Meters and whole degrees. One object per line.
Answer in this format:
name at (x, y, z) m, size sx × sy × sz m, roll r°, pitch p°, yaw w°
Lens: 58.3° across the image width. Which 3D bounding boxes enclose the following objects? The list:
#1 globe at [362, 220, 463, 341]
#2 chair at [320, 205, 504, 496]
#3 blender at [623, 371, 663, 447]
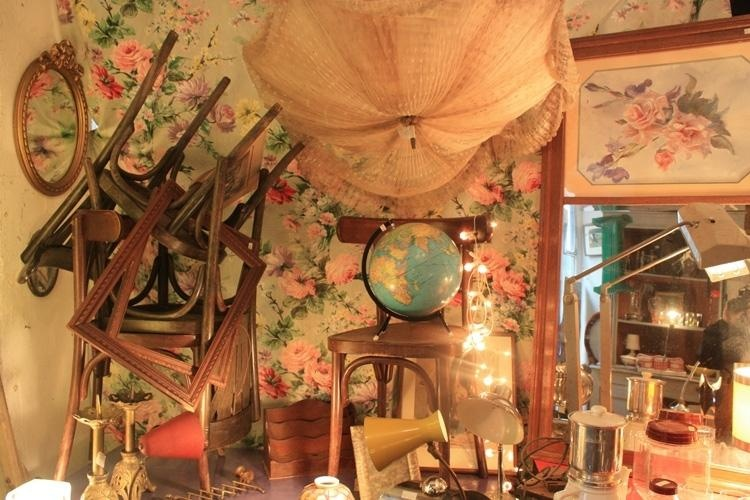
globe at (0.177, 0.112, 3.007) m, size 0.404 × 0.530 × 0.315 m, roll 3°, pitch 3°, yaw 12°
chair at (0.194, 0.442, 3.333) m, size 0.761 × 1.307 × 0.806 m, roll 2°, pitch 3°, yaw 9°
blender at (1.268, 0.774, 3.187) m, size 0.183 × 0.392 × 0.178 m, roll 3°, pitch -6°, yaw 32°
